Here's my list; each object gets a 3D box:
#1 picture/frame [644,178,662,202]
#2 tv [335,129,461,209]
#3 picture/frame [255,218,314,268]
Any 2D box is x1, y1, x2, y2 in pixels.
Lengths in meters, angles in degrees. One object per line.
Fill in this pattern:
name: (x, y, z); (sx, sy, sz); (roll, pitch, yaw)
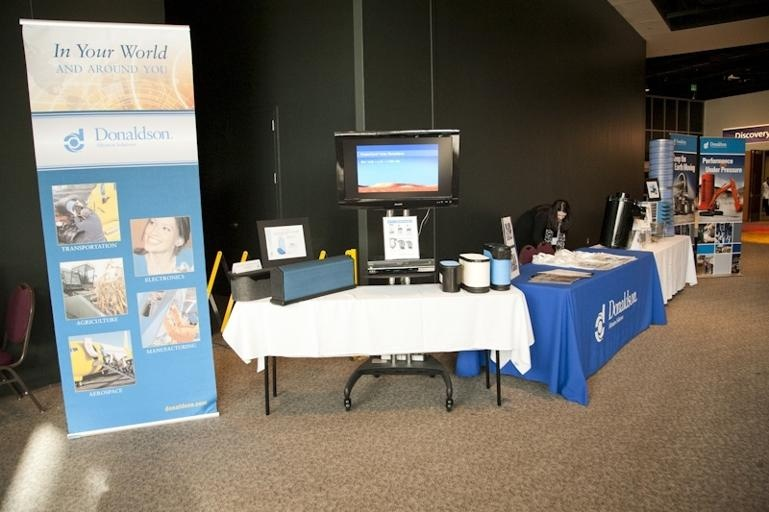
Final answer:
picture/frame: (3.642, -0.889, 7.431); (0.025, 0.322, 0.316); (-3, 14, 44)
tv: (0.122, -0.757, 4.840); (1.071, 0.678, 0.051); (-4, 10, 1)
picture/frame: (-0.859, -0.105, 4.761); (0.420, 0.387, 0.030); (-10, 4, -32)
